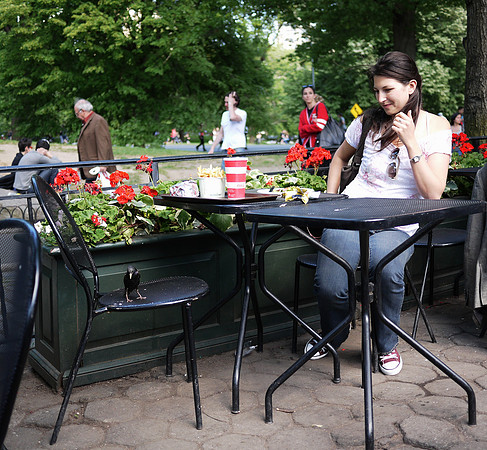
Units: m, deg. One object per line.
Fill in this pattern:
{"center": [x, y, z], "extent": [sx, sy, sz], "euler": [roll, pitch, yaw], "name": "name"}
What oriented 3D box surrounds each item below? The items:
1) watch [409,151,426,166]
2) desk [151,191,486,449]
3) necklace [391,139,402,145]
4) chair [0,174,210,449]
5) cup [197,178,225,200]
{"center": [0.903, -0.350, 2.558], "extent": [0.051, 0.026, 0.070], "euler": [-24, 9, 32], "name": "watch"}
{"center": [0.359, 0.390, 2.396], "extent": [0.928, 1.076, 1.289], "euler": [-8, 10, -39], "name": "desk"}
{"center": [0.896, -0.482, 2.840], "extent": [0.038, 0.019, 0.052], "euler": [-9, 2, -32], "name": "necklace"}
{"center": [-0.446, 0.255, 2.813], "extent": [1.148, 1.546, 0.998], "euler": [-2, 9, -5], "name": "chair"}
{"center": [-0.153, -0.173, 2.300], "extent": [0.108, 0.075, 0.098], "euler": [0, 6, 0], "name": "cup"}
